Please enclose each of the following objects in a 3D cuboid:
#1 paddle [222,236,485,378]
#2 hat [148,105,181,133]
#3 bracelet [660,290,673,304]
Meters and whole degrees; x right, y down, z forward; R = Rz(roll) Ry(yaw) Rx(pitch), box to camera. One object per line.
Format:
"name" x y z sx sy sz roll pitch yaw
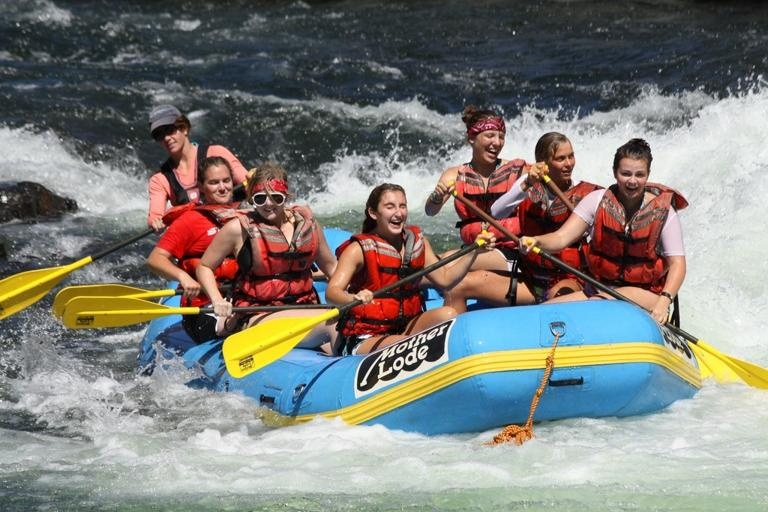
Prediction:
"paddle" -0.346 0.532 9.382 3.578 0.484 0.232 -20 5 -5
"hat" -2.425 -1.496 10.417 0.345 0.277 0.235 -6 15 -16
"bracelet" 2.765 0.405 9.231 0.111 0.111 0.031 28 76 36
